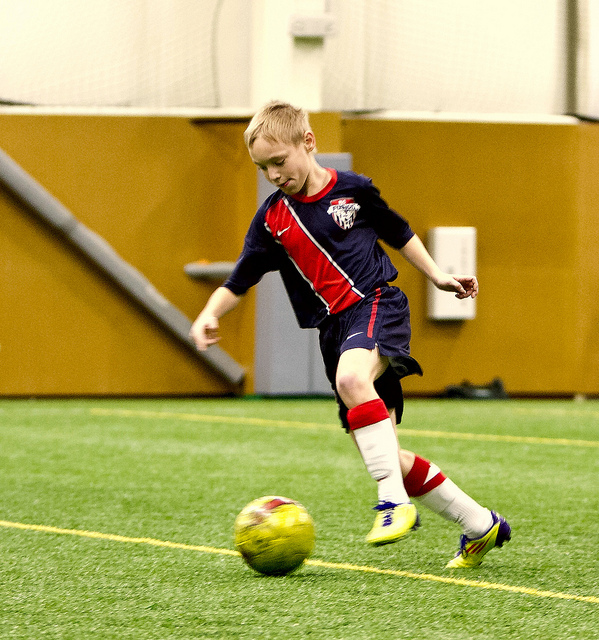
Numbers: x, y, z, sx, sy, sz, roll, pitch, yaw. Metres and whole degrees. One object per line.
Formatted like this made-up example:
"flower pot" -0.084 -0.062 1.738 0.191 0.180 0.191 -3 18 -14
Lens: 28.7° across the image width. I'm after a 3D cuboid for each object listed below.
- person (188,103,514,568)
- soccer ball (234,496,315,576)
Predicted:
"person" 0.189 0.043 3.154 0.914 1.232 0.500 14 -30 -41
"soccer ball" -0.065 0.539 2.941 0.136 0.158 0.307 0 0 -16
